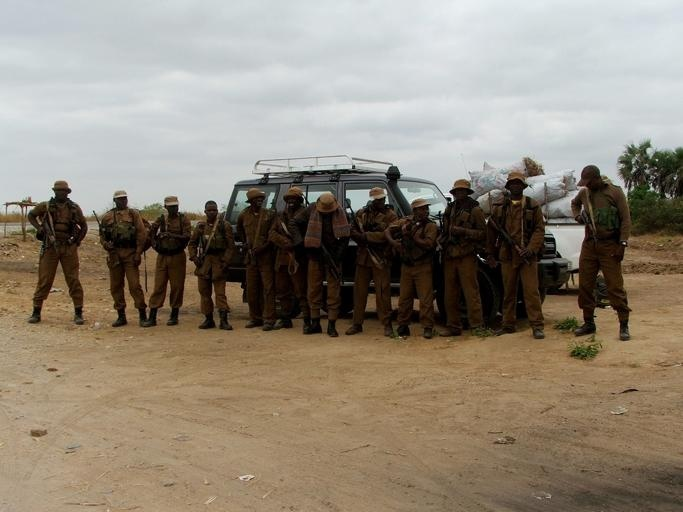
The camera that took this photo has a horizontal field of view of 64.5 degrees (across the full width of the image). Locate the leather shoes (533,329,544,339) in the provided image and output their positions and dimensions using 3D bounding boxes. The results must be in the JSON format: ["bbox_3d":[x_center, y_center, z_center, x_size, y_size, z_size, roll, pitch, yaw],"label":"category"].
[{"bbox_3d":[2.731,1.056,7.490,0.152,0.123,0.151,2,5,17],"label":"leather shoes"}]

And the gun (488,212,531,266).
[{"bbox_3d":[2.359,-0.261,7.581,0.121,0.601,0.612,-4,7,-37],"label":"gun"}]

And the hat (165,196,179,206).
[{"bbox_3d":[-2.884,-0.932,9.195,0.193,0.136,0.121,0,5,-4],"label":"hat"}]

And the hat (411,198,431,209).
[{"bbox_3d":[1.149,-0.779,7.960,0.232,0.160,0.198,1,5,4],"label":"hat"}]

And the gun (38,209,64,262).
[{"bbox_3d":[-4.837,-0.447,8.999,0.353,0.910,0.227,4,7,33],"label":"gun"}]

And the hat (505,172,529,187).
[{"bbox_3d":[2.496,-1.120,7.719,0.259,0.151,0.335,-2,-11,33],"label":"hat"}]

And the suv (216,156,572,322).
[{"bbox_3d":[0.553,-0.351,8.855,5.620,2.203,2.938,0,2,19],"label":"suv"}]

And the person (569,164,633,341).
[{"bbox_3d":[3.397,-0.048,7.113,0.714,2.266,0.723,0,6,-1],"label":"person"}]

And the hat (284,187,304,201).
[{"bbox_3d":[-0.770,-1.005,8.740,0.275,0.142,0.314,-2,8,-10],"label":"hat"}]

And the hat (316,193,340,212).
[{"bbox_3d":[-0.208,-0.819,8.258,0.363,0.308,0.204,2,6,15],"label":"hat"}]

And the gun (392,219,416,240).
[{"bbox_3d":[0.902,-0.406,7.947,0.348,0.142,0.333,-6,27,47],"label":"gun"}]

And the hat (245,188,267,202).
[{"bbox_3d":[-1.419,-1.014,8.842,0.260,0.084,0.277,-14,-4,-32],"label":"hat"}]

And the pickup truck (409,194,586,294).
[{"bbox_3d":[2.487,-0.247,9.798,3.211,1.354,1.829,0,1,29],"label":"pickup truck"}]

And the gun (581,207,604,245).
[{"bbox_3d":[3.236,-0.397,7.039,0.113,0.508,0.211,-9,10,12],"label":"gun"}]

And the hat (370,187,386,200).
[{"bbox_3d":[0.554,-0.967,8.309,0.245,0.194,0.311,0,5,1],"label":"hat"}]
